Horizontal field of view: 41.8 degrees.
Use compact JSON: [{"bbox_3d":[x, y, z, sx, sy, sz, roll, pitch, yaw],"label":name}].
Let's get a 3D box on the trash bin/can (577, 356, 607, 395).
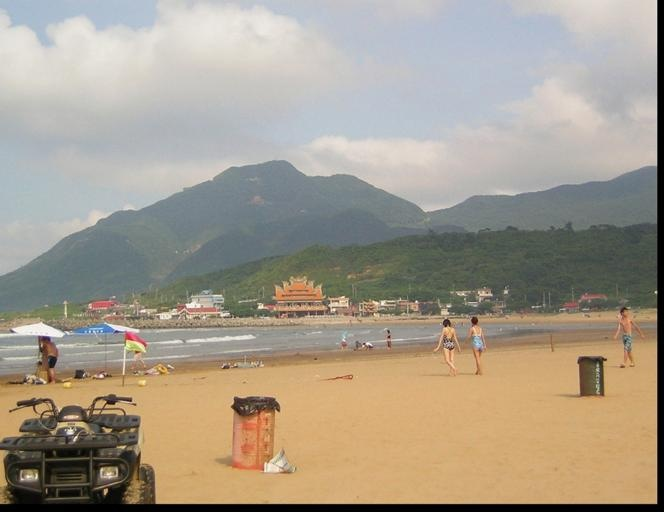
[{"bbox_3d":[7.644,3.525,25.710,0.767,1.397,0.903,-6,10,13],"label":"trash bin/can"}]
